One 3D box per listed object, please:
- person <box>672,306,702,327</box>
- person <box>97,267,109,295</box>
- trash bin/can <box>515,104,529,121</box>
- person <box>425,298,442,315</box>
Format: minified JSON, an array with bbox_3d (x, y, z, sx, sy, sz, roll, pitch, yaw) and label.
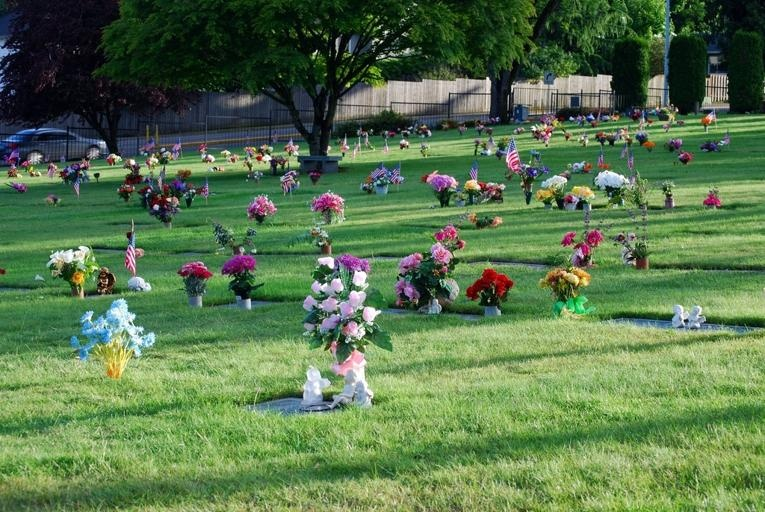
[{"bbox_3d":[11.977,2.402,77.415,0.926,0.838,0.778,0,1,11],"label":"person"},{"bbox_3d":[-11.670,1.019,81.663,0.696,1.096,0.423,9,16,44],"label":"person"},{"bbox_3d":[8.989,-9.103,124.799,0.836,0.999,1.564,-1,1,9],"label":"trash bin/can"},{"bbox_3d":[2.057,2.020,79.242,0.705,0.601,0.558,-6,13,-12],"label":"person"}]
